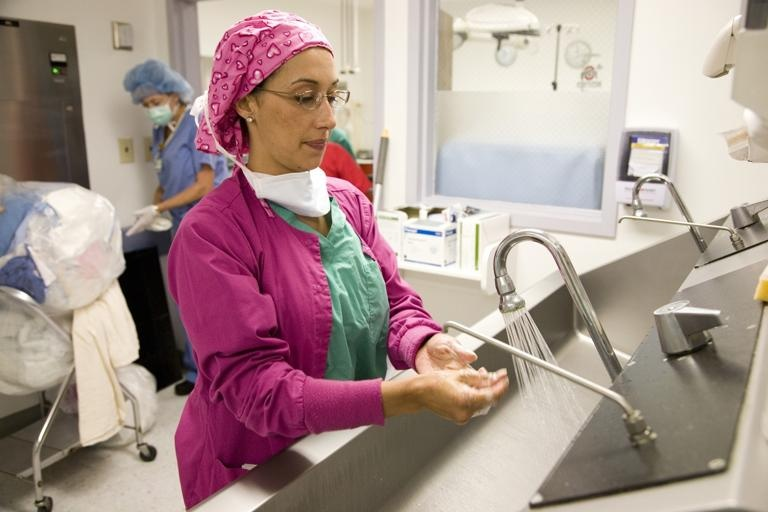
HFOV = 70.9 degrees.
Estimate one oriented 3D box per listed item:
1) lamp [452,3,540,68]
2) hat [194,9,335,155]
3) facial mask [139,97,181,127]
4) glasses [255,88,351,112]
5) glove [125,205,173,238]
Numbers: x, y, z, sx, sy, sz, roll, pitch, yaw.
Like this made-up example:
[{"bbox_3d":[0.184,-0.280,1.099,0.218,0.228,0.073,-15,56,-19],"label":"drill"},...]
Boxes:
[{"bbox_3d":[0.664,-1.241,3.110,0.360,0.120,0.333,0,57,15],"label":"lamp"},{"bbox_3d":[-0.292,-0.427,1.354,0.289,0.347,0.145,4,12,24],"label":"hat"},{"bbox_3d":[-1.359,-0.910,3.305,0.165,0.118,0.195,-2,44,3],"label":"facial mask"},{"bbox_3d":[-0.170,-0.406,1.400,0.140,0.063,0.288,7,14,35],"label":"glasses"},{"bbox_3d":[-1.430,-0.219,3.293,0.171,0.116,0.272,9,23,38],"label":"glove"}]
